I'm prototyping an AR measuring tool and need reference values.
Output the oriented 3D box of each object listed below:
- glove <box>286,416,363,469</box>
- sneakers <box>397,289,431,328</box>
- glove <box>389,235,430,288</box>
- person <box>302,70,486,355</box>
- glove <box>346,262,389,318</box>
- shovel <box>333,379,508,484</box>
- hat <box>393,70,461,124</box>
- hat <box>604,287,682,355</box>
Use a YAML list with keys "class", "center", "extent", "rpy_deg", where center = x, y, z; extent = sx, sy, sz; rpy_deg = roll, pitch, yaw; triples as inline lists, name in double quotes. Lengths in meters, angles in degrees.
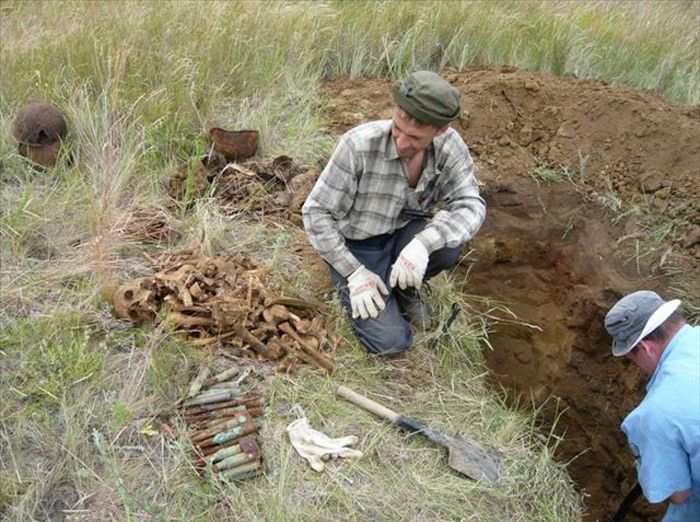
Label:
- class: "glove"
  center: [-0.187, 1.211, 3.872]
  extent: [0.521, 0.126, 0.257]
  rpy_deg: [16, 38, 2]
- class: "sneakers"
  center: [0.477, 0.375, 4.574]
  extent: [0.073, 0.155, 0.234]
  rpy_deg: [-29, 82, 2]
- class: "glove"
  center: [0.431, 0.024, 4.232]
  extent: [0.211, 0.404, 0.132]
  rpy_deg: [17, 35, 4]
- class: "person"
  center: [0.318, -0.341, 4.204]
  extent: [1.280, 1.816, 0.803]
  rpy_deg: [7, 36, -6]
- class: "glove"
  center: [0.143, 0.225, 4.415]
  extent: [0.356, 0.166, 0.551]
  rpy_deg: [-8, 49, 4]
- class: "shovel"
  center: [0.458, 1.251, 4.219]
  extent: [1.551, 0.180, 0.455]
  rpy_deg: [28, 59, 0]
- class: "hat"
  center: [0.503, -1.071, 3.902]
  extent: [0.410, 0.257, 0.301]
  rpy_deg: [30, 41, 20]
- class: "hat"
  center: [1.798, 0.341, 3.761]
  extent: [0.197, 0.441, 0.383]
  rpy_deg: [45, 17, -3]
